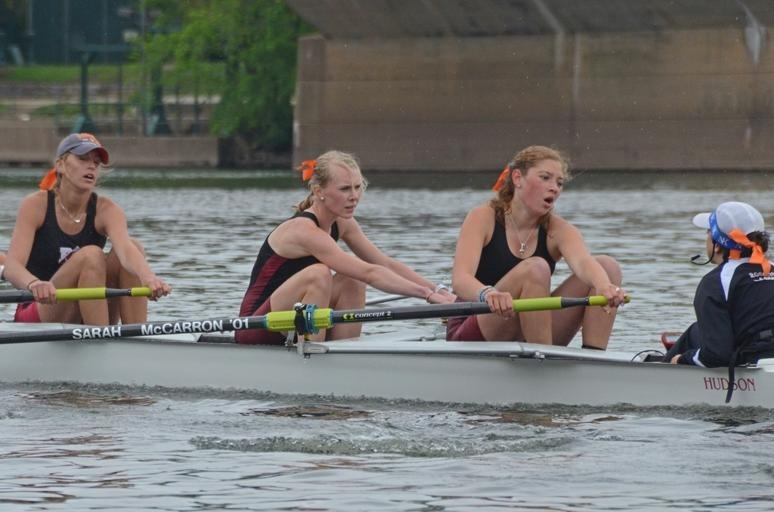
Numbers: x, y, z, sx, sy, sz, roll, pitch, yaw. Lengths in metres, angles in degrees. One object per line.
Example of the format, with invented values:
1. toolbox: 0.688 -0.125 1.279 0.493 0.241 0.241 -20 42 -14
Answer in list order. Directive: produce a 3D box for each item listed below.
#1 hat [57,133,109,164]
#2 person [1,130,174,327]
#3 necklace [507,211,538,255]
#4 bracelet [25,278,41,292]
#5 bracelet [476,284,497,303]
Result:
1. hat: -3.374 -1.186 17.066 0.515 0.225 0.344 -9 -7 35
2. person: -3.355 -0.291 16.959 1.557 2.085 0.865 -1 5 -9
3. necklace: 1.441 -0.252 16.469 0.523 0.460 0.170 3 10 7
4. bracelet: -3.761 0.304 16.720 0.038 0.118 0.135 34 23 21
5. bracelet: 1.053 0.384 16.252 0.078 0.163 0.146 30 11 10
